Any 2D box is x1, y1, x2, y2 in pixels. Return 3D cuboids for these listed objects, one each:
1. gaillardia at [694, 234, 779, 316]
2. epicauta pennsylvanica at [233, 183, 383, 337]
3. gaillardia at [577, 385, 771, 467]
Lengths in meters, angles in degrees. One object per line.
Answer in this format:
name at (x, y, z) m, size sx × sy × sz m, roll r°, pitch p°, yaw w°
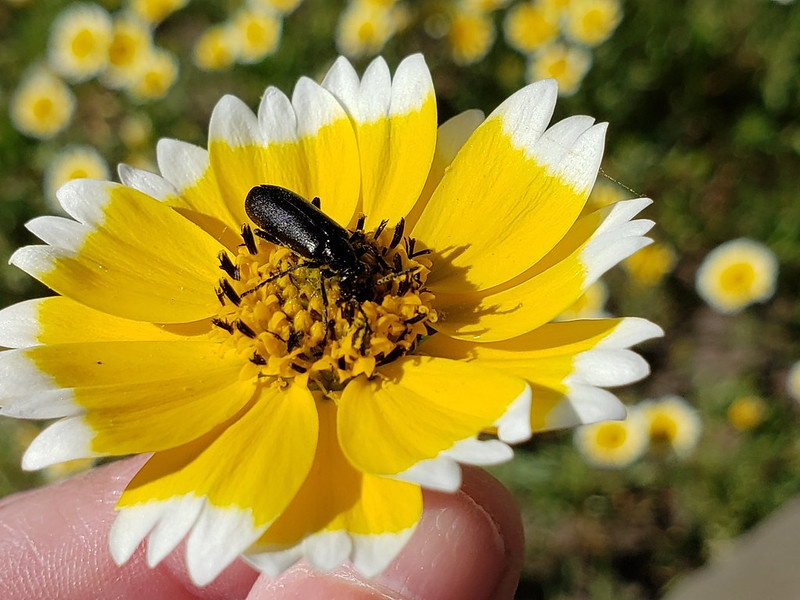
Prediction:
gaillardia at (1.607, -0.118, 4.453) m, size 0.303 × 0.261 × 0.330 m, roll 5°, pitch 80°, yaw -1°
epicauta pennsylvanica at (-0.278, -0.206, 3.213) m, size 0.515 × 0.427 × 0.508 m, roll -7°, pitch 106°, yaw -33°
gaillardia at (1.219, 0.607, 4.390) m, size 0.727 × 0.149 × 0.514 m, roll -19°, pitch 70°, yaw -11°
